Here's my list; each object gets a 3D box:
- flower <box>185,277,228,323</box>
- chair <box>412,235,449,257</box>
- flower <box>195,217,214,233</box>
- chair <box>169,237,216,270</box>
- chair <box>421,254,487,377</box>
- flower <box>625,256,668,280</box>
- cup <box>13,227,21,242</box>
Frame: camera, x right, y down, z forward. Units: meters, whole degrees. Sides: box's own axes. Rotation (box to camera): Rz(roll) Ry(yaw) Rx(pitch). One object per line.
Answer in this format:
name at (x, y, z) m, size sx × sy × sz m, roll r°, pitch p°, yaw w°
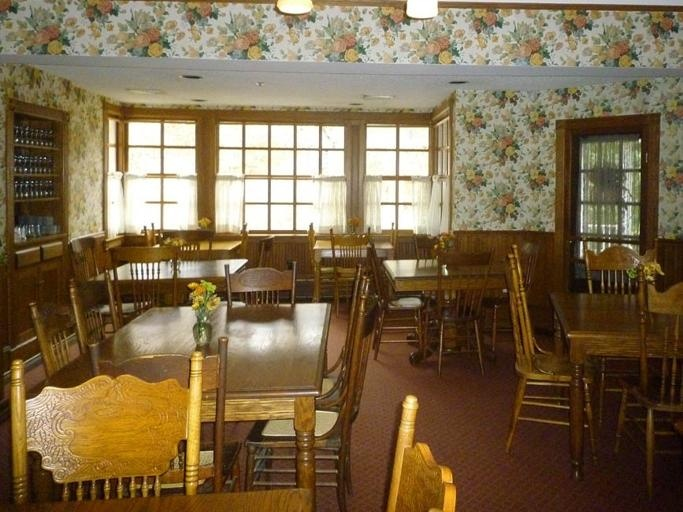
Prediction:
flower at (-0.906, 0.288, 3.597) m, size 0.225 × 0.335 × 0.265 m, roll 0°, pitch 6°, yaw 0°
chair at (1.127, -0.133, 6.591) m, size 0.330 × 0.274 × 0.374 m, roll 1°, pitch -2°, yaw 0°
flower at (-2.098, -0.474, 8.137) m, size 0.269 × 0.288 × 0.278 m, roll -2°, pitch 14°, yaw -10°
chair at (-1.863, -0.077, 6.725) m, size 0.468 × 0.693 × 0.445 m, roll 1°, pitch -4°, yaw -5°
chair at (1.169, 0.512, 5.417) m, size 0.608 × 1.164 × 1.221 m, roll 0°, pitch 4°, yaw 11°
flower at (2.522, 0.097, 4.427) m, size 0.209 × 0.088 × 0.211 m, roll 1°, pitch -11°, yaw 12°
cup at (-3.407, -0.225, 5.635) m, size 0.069 × 0.148 × 0.125 m, roll -3°, pitch 4°, yaw -31°
